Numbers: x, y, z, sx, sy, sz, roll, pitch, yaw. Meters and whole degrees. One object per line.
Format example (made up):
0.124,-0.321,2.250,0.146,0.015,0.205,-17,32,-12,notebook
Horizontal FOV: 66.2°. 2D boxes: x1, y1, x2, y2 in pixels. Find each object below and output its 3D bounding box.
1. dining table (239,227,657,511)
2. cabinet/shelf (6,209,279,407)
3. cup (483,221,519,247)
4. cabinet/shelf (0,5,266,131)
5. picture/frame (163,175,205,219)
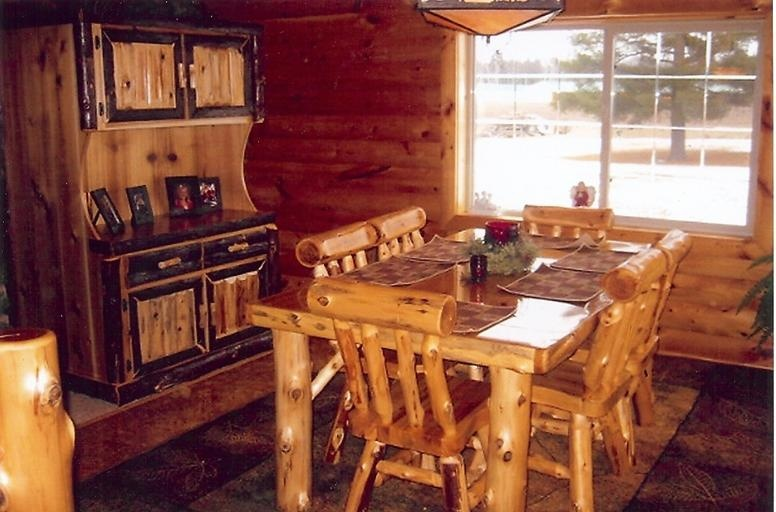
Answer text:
0.506,0.460,2.811,1.395,1.025,1.622,9,21,30,dining table
-1.676,0.263,4.335,0.952,1.131,1.702,9,13,23,cabinet/shelf
0.608,-0.132,3.220,0.148,0.102,0.145,-1,14,0,cup
-1.515,-1.231,3.980,1.436,0.715,0.443,-13,19,-39,cabinet/shelf
-1.510,-0.420,4.347,0.321,0.360,0.039,-8,4,-40,picture/frame
